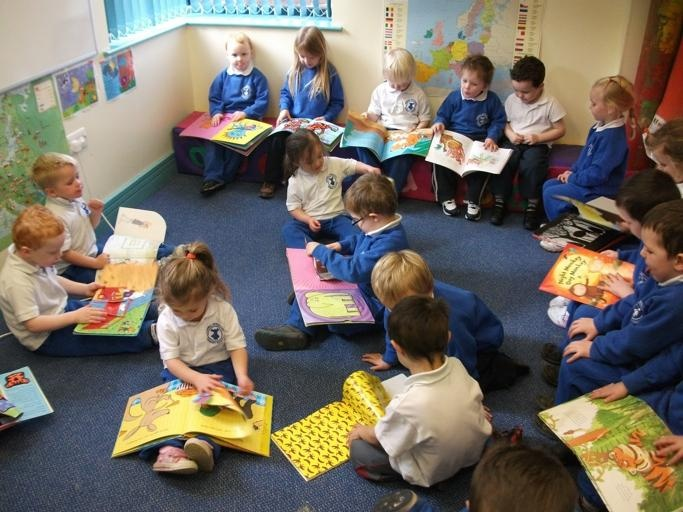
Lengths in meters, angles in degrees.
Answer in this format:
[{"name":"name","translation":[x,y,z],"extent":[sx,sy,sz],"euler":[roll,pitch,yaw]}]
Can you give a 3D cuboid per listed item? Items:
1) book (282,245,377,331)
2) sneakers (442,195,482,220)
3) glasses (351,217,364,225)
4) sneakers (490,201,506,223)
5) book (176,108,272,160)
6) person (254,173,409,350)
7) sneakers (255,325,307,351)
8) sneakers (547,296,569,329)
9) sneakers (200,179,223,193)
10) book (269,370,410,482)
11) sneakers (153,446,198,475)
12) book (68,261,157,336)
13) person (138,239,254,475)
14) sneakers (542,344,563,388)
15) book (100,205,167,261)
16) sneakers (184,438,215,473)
[{"name":"book","translation":[-0.040,0.155,2.305],"extent":[0.294,0.035,0.484],"euler":[-2,39,-16]},{"name":"sneakers","translation":[0.781,-0.352,3.317],"extent":[0.107,0.130,0.286],"euler":[0,32,2]},{"name":"glasses","translation":[0.075,-0.165,2.437],"extent":[0.052,0.015,0.049],"euler":[1,18,2]},{"name":"sneakers","translation":[0.988,-0.278,3.204],"extent":[0.068,0.069,0.177],"euler":[6,38,16]},{"name":"book","translation":[-0.811,-0.868,3.542],"extent":[0.593,0.202,0.350],"euler":[12,28,21]},{"name":"person","translation":[-0.050,0.014,2.484],"extent":[0.800,0.750,0.549],"euler":[-6,21,-8]},{"name":"sneakers","translation":[-0.259,0.372,2.333],"extent":[0.255,0.094,0.176],"euler":[4,8,-4]},{"name":"sneakers","translation":[1.057,0.254,2.465],"extent":[0.087,0.100,0.211],"euler":[11,28,19]},{"name":"sneakers","translation":[-0.887,-0.480,3.454],"extent":[0.062,0.084,0.183],"euler":[-3,11,26]},{"name":"book","translation":[0.011,0.662,1.980],"extent":[0.531,0.127,0.266],"euler":[-25,47,-20]},{"name":"sneakers","translation":[-0.580,0.723,1.818],"extent":[0.154,0.085,0.085],"euler":[2,19,1]},{"name":"book","translation":[-1.028,0.190,2.373],"extent":[0.326,0.516,0.038],"euler":[8,34,-48]},{"name":"person","translation":[-0.537,0.370,1.943],"extent":[0.405,0.688,0.731],"euler":[-1,22,-4]},{"name":"sneakers","translation":[0.896,0.471,2.164],"extent":[0.074,0.078,0.184],"euler":[0,35,16]},{"name":"book","translation":[-1.072,-0.108,2.641],"extent":[0.295,0.092,0.343],"euler":[10,59,-3]},{"name":"sneakers","translation":[-0.492,0.701,1.824],"extent":[0.076,0.141,0.061],"euler":[-22,25,8]}]
